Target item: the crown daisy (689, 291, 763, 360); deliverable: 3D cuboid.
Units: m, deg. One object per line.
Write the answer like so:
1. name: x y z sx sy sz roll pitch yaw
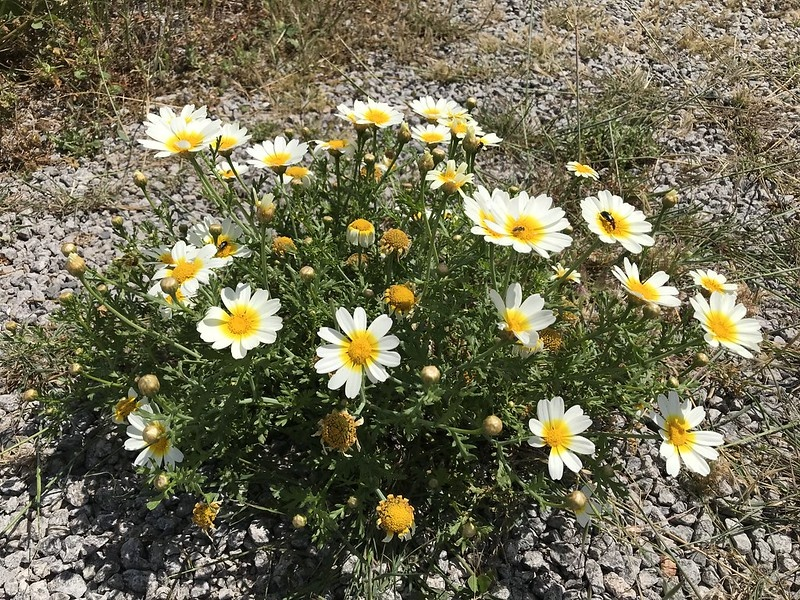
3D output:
1. crown daisy: 1.684 0.181 3.454 0.348 0.110 0.374 -10 70 -22

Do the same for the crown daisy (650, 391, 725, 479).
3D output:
1. crown daisy: 1.482 0.725 3.350 0.412 0.108 0.437 -32 88 -27
